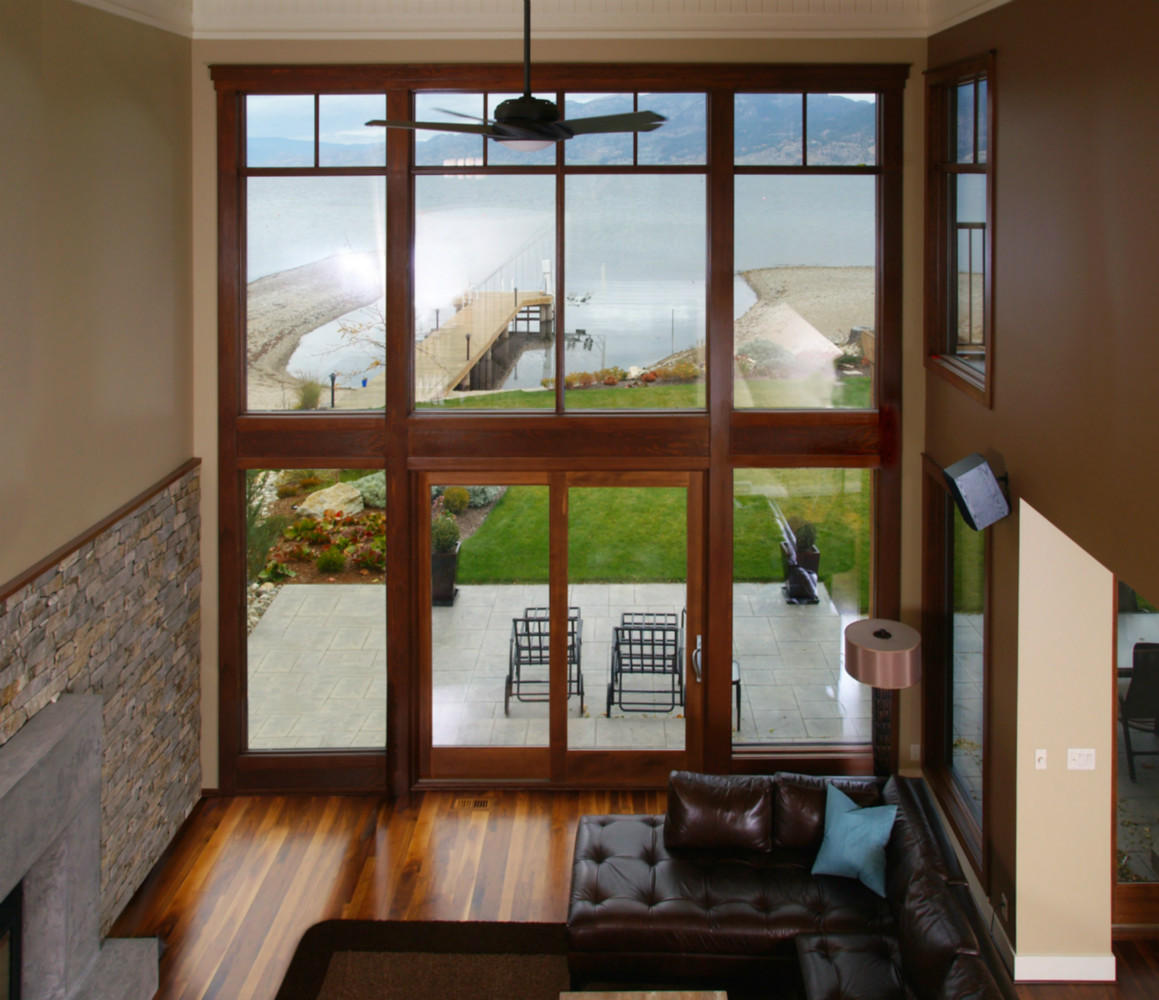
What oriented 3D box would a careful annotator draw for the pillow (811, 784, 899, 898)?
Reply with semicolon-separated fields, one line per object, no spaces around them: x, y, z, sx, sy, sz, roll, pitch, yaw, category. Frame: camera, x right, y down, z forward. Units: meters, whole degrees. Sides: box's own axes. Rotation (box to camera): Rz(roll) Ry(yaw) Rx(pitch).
1.634;2.050;5.963;0.588;0.578;0.172;-13;-35;39;pillow

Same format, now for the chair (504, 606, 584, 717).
-0.315;1.181;8.032;0.735;0.915;0.945;0;12;2;chair

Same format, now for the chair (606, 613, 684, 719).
0.486;1.214;7.634;0.508;0.551;0.851;0;27;1;chair

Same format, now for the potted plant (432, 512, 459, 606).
-1.015;0.458;7.551;0.226;0.685;0.139;-1;14;-4;potted plant

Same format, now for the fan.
-0.184;-2.005;4.600;1.125;0.624;0.751;1;15;4;fan
